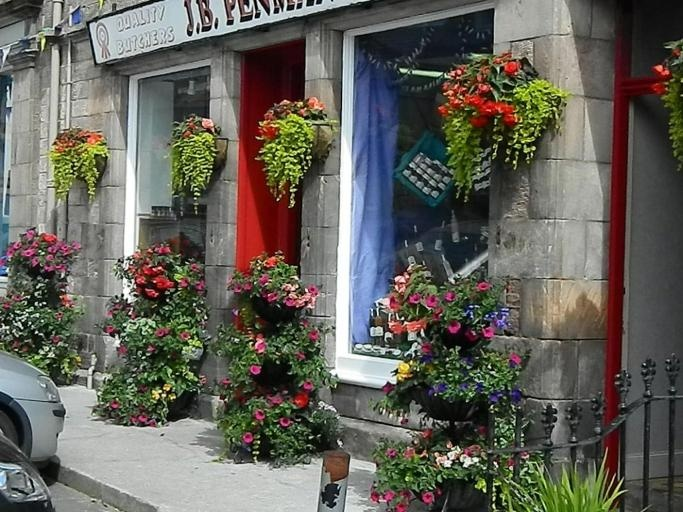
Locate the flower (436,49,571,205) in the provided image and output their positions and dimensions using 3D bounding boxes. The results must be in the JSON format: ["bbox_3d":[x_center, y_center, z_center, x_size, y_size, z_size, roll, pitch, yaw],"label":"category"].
[{"bbox_3d":[1.415,-1.109,11.647,1.649,1.697,1.142,-2,3,-7],"label":"flower"}]

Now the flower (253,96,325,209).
[{"bbox_3d":[-0.500,-1.104,12.992,0.737,1.085,0.600,-1,-5,13],"label":"flower"}]

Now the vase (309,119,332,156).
[{"bbox_3d":[-0.192,-1.195,12.988,0.297,0.293,0.283,-5,16,-20],"label":"vase"}]

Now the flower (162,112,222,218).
[{"bbox_3d":[-1.685,-1.045,14.334,0.516,1.013,1.007,2,-5,-16],"label":"flower"}]

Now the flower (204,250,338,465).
[{"bbox_3d":[-0.639,0.975,12.296,1.200,2.037,0.579,0,-5,-5],"label":"flower"}]

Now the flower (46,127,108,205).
[{"bbox_3d":[-3.302,-1.183,15.922,0.748,0.900,0.572,0,-5,-3],"label":"flower"}]

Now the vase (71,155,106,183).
[{"bbox_3d":[-3.159,-1.085,15.846,0.357,0.250,0.320,1,-9,11],"label":"vase"}]

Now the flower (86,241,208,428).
[{"bbox_3d":[-2.048,0.849,13.827,1.212,1.954,0.717,1,-5,-11],"label":"flower"}]
